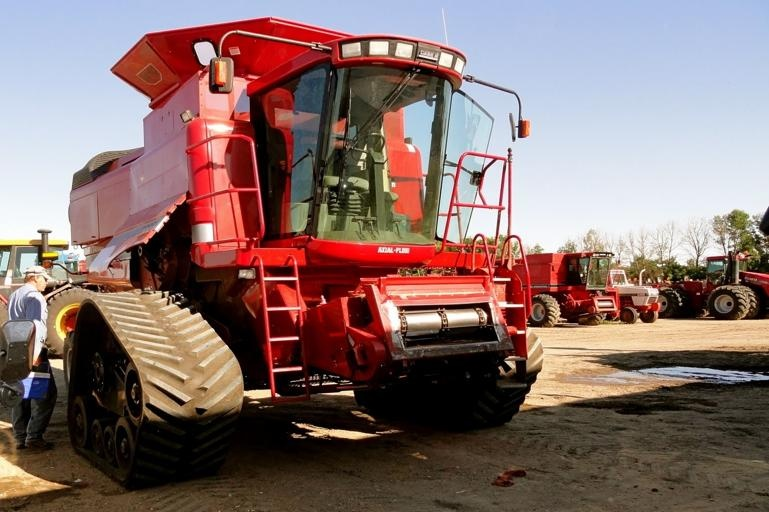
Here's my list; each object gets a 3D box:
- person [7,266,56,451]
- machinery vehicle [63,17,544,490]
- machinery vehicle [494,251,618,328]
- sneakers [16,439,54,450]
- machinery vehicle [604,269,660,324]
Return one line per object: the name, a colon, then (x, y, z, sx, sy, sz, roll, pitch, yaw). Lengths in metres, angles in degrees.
person: (-4.448, 1.246, 6.446, 0.486, 2.257, 0.942, 1, -3, -36)
machinery vehicle: (-1.585, -0.424, 7.147, 5.202, 3.801, 6.517, 2, -3, -39)
machinery vehicle: (8.848, 1.591, 24.205, 2.962, 2.893, 4.914, -8, -5, -10)
sneakers: (-4.321, 2.330, 6.301, 0.385, 0.157, 0.130, -2, -2, -9)
machinery vehicle: (12.366, 1.933, 25.961, 1.861, 2.170, 3.602, 7, 2, -22)
